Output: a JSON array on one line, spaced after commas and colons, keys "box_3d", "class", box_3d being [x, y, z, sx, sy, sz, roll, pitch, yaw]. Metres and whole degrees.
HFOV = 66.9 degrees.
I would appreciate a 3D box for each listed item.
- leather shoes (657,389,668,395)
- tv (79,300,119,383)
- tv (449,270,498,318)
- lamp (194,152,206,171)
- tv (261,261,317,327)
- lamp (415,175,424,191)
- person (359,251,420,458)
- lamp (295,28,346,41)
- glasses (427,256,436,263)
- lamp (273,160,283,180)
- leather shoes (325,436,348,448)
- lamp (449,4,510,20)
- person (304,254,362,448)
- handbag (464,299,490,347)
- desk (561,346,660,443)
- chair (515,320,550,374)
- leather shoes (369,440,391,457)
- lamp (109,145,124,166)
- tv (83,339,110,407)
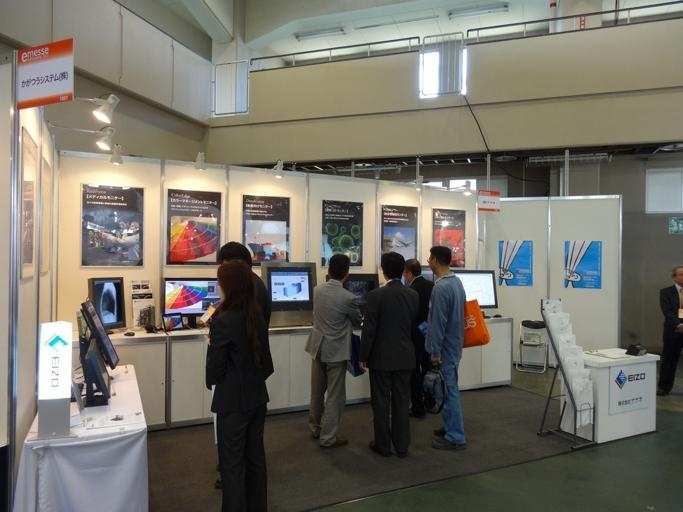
[{"box_3d": [4.251, 1.819, 6.858, 0.130, 0.060, 0.054, 6, -11, -9], "class": "leather shoes"}, {"box_3d": [-2.089, 0.752, 4.440, 0.088, 0.693, 0.647, -23, 17, -15], "class": "tv"}, {"box_3d": [1.651, 0.469, 6.489, 0.653, 0.674, 0.231, 0, -7, -23], "class": "tv"}, {"box_3d": [-1.709, -1.142, 6.240, 0.133, 0.190, 0.148, -2, 8, -16], "class": "lamp"}, {"box_3d": [-0.629, 0.473, 6.033, 0.643, 0.780, 0.242, 5, -14, -27], "class": "tv"}, {"box_3d": [1.162, -1.072, 7.669, 0.115, 0.207, 0.355, 2, 8, 10], "class": "lamp"}, {"box_3d": [0.473, 1.145, 5.160, 0.538, 1.681, 0.384, 1, 8, 8], "class": "person"}, {"box_3d": [-0.454, -4.778, 11.178, 0.789, 0.175, 0.200, -2, -37, 4], "class": "lamp"}, {"box_3d": [0.960, 0.026, 5.508, 0.074, 0.093, 0.086, 5, -11, -6], "class": "glasses"}, {"box_3d": [-0.807, -1.104, 6.611, 0.120, 0.230, 0.153, -1, 8, -9], "class": "lamp"}, {"box_3d": [-0.043, 1.919, 5.318, 0.263, 0.117, 0.090, -2, 3, -31], "class": "leather shoes"}, {"box_3d": [2.732, -4.927, 10.324, 1.204, 0.253, 0.316, 2, 8, 10], "class": "lamp"}, {"box_3d": [-0.067, 0.959, 5.389, 0.502, 1.968, 0.522, -1, 8, -11], "class": "person"}, {"box_3d": [1.450, 0.745, 5.592, 0.296, 0.519, 0.254, 1, 8, 1], "class": "handbag"}, {"box_3d": [2.952, 1.305, 5.876, 1.107, 1.151, 0.826, -1, 1, -30], "class": "desk"}, {"box_3d": [3.072, 1.439, 8.279, 0.494, 0.781, 0.552, 4, 8, 23], "class": "chair"}, {"box_3d": [0.385, 1.942, 5.188, 0.084, 0.097, 0.231, -1, -3, -31], "class": "leather shoes"}, {"box_3d": [-2.554, -1.148, 5.866, 0.135, 0.236, 0.231, -3, 9, -24], "class": "lamp"}, {"box_3d": [-1.910, 0.917, 4.019, 0.175, 0.396, 0.456, -2, 3, -20], "class": "tv"}]
